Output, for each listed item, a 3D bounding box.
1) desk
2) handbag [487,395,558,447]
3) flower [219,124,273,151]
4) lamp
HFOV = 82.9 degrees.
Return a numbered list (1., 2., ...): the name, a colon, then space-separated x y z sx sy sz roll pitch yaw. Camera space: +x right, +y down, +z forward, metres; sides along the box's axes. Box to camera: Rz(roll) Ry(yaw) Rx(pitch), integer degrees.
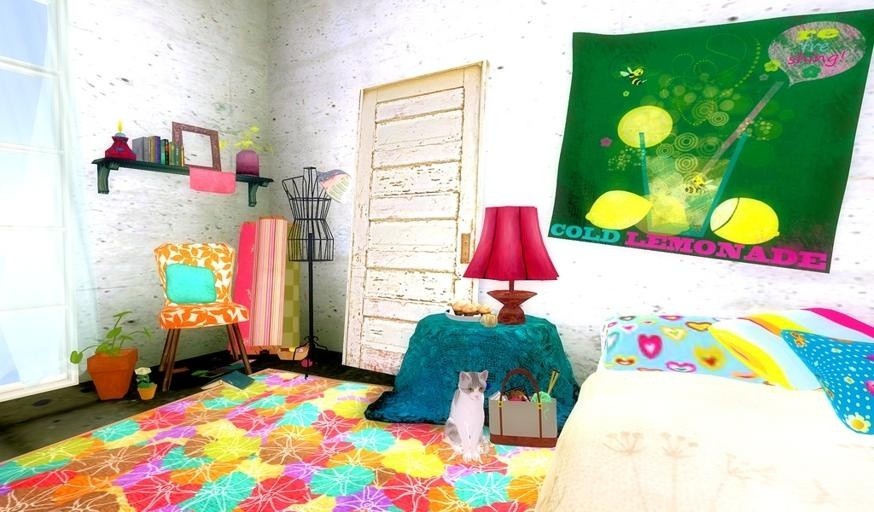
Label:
1. desk: 0.231 0.861 3.753 1.342 0.425 1.046 2 0 14
2. handbag: 0.657 1.148 3.642 0.681 0.315 0.359 -1 -3 13
3. flower: -2.023 -1.235 5.186 0.363 0.223 0.452 19 8 11
4. lamp: 0.554 0.075 3.775 0.674 0.915 0.272 3 8 2
